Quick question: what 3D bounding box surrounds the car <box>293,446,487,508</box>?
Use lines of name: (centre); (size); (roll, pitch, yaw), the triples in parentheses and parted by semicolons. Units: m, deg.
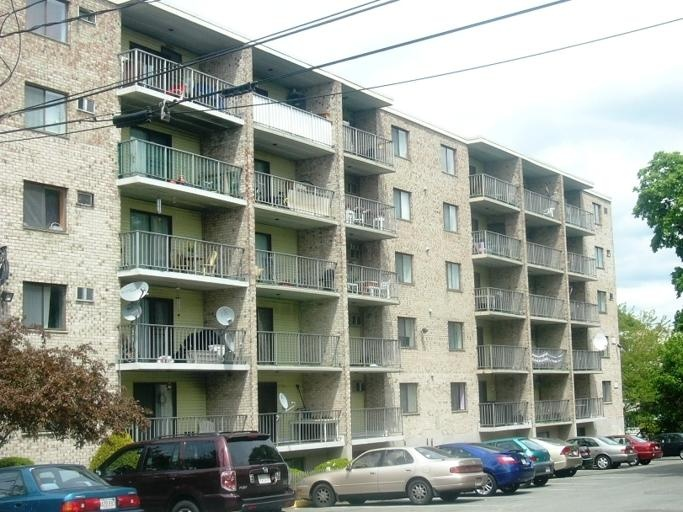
car: (1.795, 7.547, 34.628); (5.647, 1.455, 2.368); (-5, -13, 24)

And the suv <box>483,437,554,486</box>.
suv: (7.018, 7.970, 39.572); (3.156, 1.194, 1.590); (-2, -5, 42)
